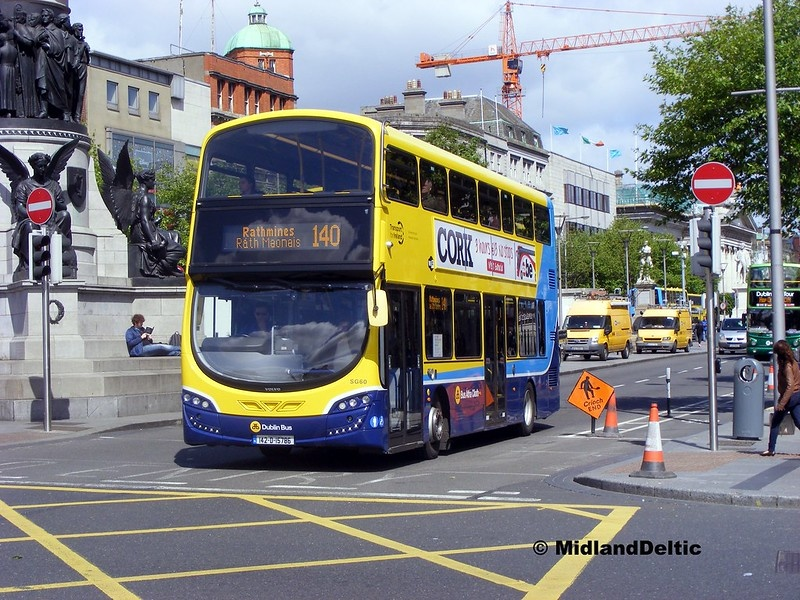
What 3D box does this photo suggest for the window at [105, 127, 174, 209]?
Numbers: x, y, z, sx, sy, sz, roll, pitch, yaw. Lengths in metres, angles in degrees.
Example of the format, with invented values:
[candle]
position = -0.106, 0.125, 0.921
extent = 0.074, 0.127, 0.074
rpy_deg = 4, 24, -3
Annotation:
[window]
position = -18.429, -9.339, 76.647
extent = 0.395, 5.625, 7.687
rpy_deg = -10, -5, 27

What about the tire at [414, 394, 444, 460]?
[tire]
position = 0.461, 1.970, 16.577
extent = 0.353, 0.988, 0.960
rpy_deg = 0, -11, 18

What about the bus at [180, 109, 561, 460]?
[bus]
position = 0.865, -0.112, 18.715
extent = 3.273, 5.560, 10.150
rpy_deg = -1, -1, 38

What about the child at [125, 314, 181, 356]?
[child]
position = -6.078, 0.862, 26.051
extent = 1.324, 1.001, 0.624
rpy_deg = 4, 13, -5

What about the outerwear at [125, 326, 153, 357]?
[outerwear]
position = -6.368, 1.030, 25.994
extent = 0.614, 0.861, 0.895
rpy_deg = -7, -6, 27

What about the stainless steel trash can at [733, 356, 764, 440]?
[stainless steel trash can]
position = 5.923, 1.695, 17.805
extent = 0.474, 1.384, 0.448
rpy_deg = 0, -1, 18

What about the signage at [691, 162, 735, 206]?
[signage]
position = 4.798, -1.797, 16.055
extent = 0.611, 0.658, 0.062
rpy_deg = 1, 17, 18
